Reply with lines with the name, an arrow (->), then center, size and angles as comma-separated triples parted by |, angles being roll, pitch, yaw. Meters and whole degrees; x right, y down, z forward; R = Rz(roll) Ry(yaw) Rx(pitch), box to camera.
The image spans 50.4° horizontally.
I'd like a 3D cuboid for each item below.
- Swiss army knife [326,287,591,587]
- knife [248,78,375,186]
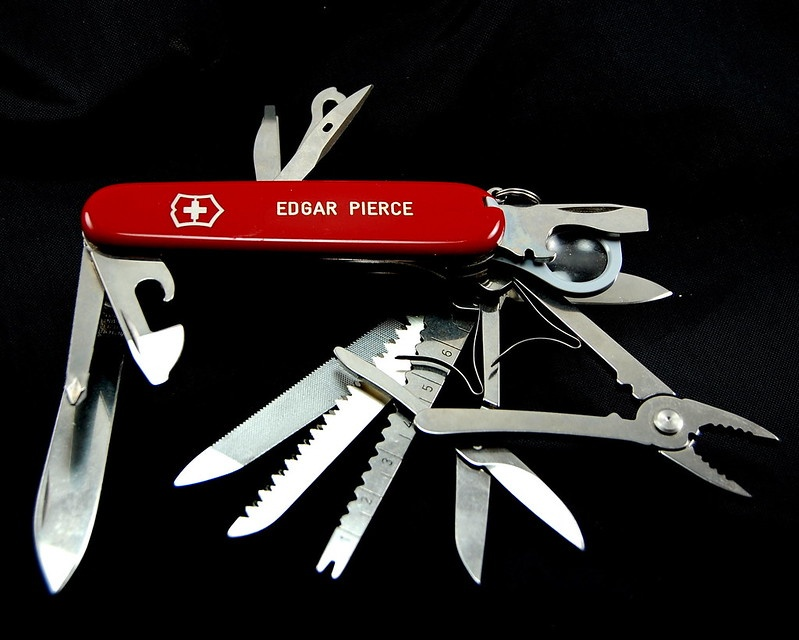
Swiss army knife -> 0.049, 0.291, 1.772 | 0.528, 0.190, 0.551 | -18, 82, 1
knife -> -0.216, -0.458, 1.979 | 0.231, 0.244, 0.226 | 10, 110, 16
